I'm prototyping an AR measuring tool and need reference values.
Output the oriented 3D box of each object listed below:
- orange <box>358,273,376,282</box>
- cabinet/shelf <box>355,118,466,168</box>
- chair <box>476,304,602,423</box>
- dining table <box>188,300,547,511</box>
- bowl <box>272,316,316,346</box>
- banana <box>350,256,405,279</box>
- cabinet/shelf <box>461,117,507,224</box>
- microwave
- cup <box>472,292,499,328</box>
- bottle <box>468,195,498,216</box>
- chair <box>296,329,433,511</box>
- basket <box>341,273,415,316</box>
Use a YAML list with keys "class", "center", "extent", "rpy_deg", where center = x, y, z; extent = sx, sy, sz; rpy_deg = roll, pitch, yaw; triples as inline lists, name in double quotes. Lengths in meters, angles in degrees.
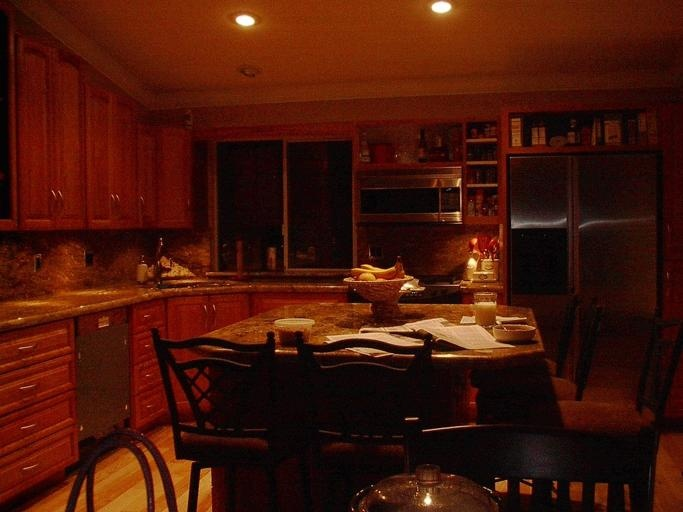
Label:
- class: "orange"
  center: [0.120, 0.104, 2.785]
  extent: [0.055, 0.031, 0.052]
  rpy_deg: [2, 3, 1]
- class: "cabinet/shelf"
  center: [0.623, -0.961, 4.964]
  extent: [0.898, 0.327, 0.217]
  rpy_deg: [2, 1, 15]
- class: "chair"
  center: [1.056, 0.642, 3.045]
  extent: [0.585, 0.800, 0.512]
  rpy_deg: [4, 0, 14]
- class: "dining table"
  center: [0.241, 0.536, 2.674]
  extent: [1.251, 0.727, 1.159]
  rpy_deg: [-1, 2, 8]
- class: "bowl"
  center: [-0.204, 0.314, 2.391]
  extent: [0.136, 0.070, 0.130]
  rpy_deg: [0, 0, 0]
- class: "banana"
  center: [0.162, 0.048, 2.864]
  extent: [0.241, 0.110, 0.143]
  rpy_deg: [1, 1, 23]
- class: "cabinet/shelf"
  center: [1.170, -0.697, 4.767]
  extent: [0.315, 0.769, 0.225]
  rpy_deg: [0, 0, 16]
- class: "microwave"
  center: [0.687, -0.505, 5.035]
  extent: [0.973, 0.430, 0.609]
  rpy_deg: [2, 9, 34]
- class: "cup"
  center: [0.685, 0.258, 2.754]
  extent: [0.110, 0.150, 0.112]
  rpy_deg: [0, 4, 0]
- class: "bottle"
  center: [1.170, -0.398, 4.853]
  extent: [0.265, 0.227, 0.187]
  rpy_deg: [0, -2, -2]
- class: "chair"
  center: [0.090, 0.680, 2.221]
  extent: [0.496, 0.792, 0.499]
  rpy_deg: [-2, 1, -5]
- class: "basket"
  center: [0.233, 0.214, 2.940]
  extent: [0.407, 0.198, 0.395]
  rpy_deg: [-1, -8, -29]
